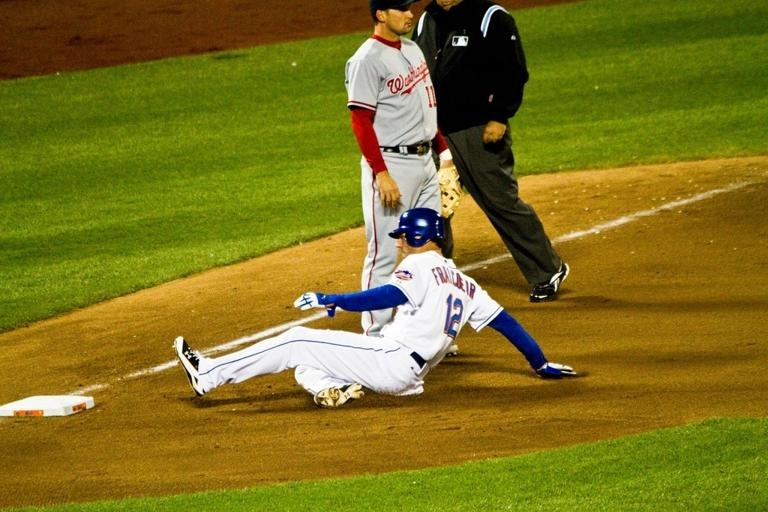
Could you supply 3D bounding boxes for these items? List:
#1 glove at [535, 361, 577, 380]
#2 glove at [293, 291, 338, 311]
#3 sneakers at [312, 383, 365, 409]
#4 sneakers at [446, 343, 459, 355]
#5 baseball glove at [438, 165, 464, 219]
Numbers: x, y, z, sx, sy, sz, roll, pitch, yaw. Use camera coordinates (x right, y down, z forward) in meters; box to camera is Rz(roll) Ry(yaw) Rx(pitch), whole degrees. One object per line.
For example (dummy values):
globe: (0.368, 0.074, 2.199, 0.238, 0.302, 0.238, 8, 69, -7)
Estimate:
glove: (1.678, 1.103, 13.344, 0.351, 0.113, 0.173, -2, 9, -1)
glove: (-0.633, 0.422, 12.840, 0.374, 0.226, 0.203, -13, 24, -4)
sneakers: (-0.399, 1.329, 13.148, 0.377, 0.147, 0.234, -16, 21, -30)
sneakers: (0.695, 0.931, 13.775, 0.146, 0.047, 0.141, -2, -17, 3)
baseball glove: (0.672, -0.652, 13.963, 0.168, 0.428, 0.357, 7, 4, 28)
